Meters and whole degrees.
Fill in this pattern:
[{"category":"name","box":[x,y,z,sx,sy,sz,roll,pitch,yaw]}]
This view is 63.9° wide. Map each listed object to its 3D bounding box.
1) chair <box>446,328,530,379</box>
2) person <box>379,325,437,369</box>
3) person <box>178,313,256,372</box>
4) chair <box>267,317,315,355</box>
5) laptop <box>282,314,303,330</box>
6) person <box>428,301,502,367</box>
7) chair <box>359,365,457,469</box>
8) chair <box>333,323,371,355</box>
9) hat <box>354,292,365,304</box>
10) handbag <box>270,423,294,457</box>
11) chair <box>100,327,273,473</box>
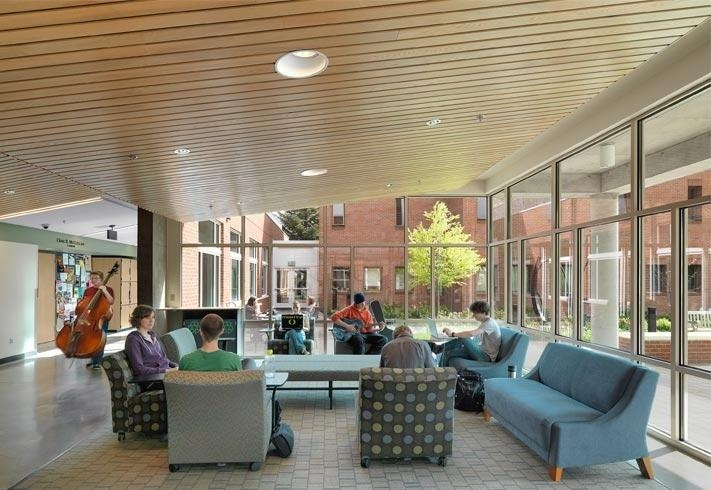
[{"category":"chair","box":[2.011,1.595,8.288,0.871,0.740,0.777,1,-7,5]},{"category":"person","box":[0.575,1.177,6.490,0.582,0.691,0.416,0,1,6]},{"category":"person","box":[-1.547,1.101,6.207,0.797,0.616,0.384,2,-7,2]},{"category":"chair","box":[-1.139,1.643,10.007,0.646,0.590,0.646,-1,-19,2]},{"category":"laptop","box":[-1.136,1.402,10.256,0.401,0.249,0.264,2,6,3]},{"category":"person","box":[1.702,1.387,9.045,1.347,1.316,0.817,3,-3,13]},{"category":"chair","box":[0.548,1.884,6.418,1.026,0.959,1.031,0,-8,3]},{"category":"chair","box":[-0.097,1.607,9.876,0.573,0.569,0.489,0,4,-1]},{"category":"hat","box":[0.082,0.966,10.163,0.172,0.168,0.183,-1,3,-8]},{"category":"handbag","box":[-0.837,2.199,6.457,0.250,0.353,0.260,0,4,-4]},{"category":"chair","box":[-1.636,1.791,6.483,1.295,0.978,1.590,-1,-3,-1]}]
